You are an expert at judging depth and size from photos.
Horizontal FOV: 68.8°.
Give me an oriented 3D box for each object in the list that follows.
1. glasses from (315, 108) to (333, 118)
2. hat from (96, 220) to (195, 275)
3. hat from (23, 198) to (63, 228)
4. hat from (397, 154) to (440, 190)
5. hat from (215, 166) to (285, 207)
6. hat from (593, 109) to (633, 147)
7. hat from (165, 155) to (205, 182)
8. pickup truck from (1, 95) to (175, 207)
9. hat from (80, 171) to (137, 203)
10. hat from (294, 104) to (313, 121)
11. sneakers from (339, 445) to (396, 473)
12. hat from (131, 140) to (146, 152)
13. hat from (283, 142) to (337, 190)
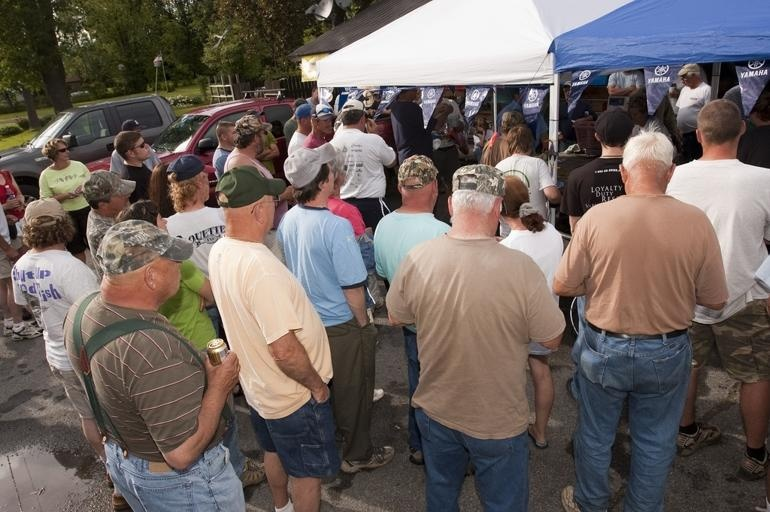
[{"bbox_3d":[-0.789,-1.854,7.283,0.157,0.047,0.161,-23,-5,37],"label":"glasses"},{"bbox_3d":[-1.543,-0.082,3.649,0.494,0.244,0.320,-20,38,-25],"label":"hat"},{"bbox_3d":[-3.253,-0.409,5.371,0.253,0.132,0.353,-20,16,-38],"label":"hat"},{"bbox_3d":[0.270,-0.733,4.683,0.236,0.170,0.329,-5,34,16],"label":"hat"},{"bbox_3d":[-0.978,-0.521,4.165,0.413,0.196,0.278,-24,36,-38],"label":"hat"},{"bbox_3d":[2.095,-1.137,5.179,0.275,0.216,0.367,3,65,27],"label":"hat"},{"bbox_3d":[-1.826,-0.875,5.245,0.235,0.134,0.322,20,39,30],"label":"hat"},{"bbox_3d":[-5.921,-2.494,12.350,4.213,1.934,2.390,-15,18,-36],"label":"pickup truck"},{"bbox_3d":[-2.695,-0.704,5.555,0.433,0.232,0.280,-18,47,-21],"label":"hat"},{"bbox_3d":[-1.104,-2.000,7.818,0.250,0.133,0.175,-43,49,-18],"label":"hat"},{"bbox_3d":[-0.142,1.865,5.225,0.495,0.217,0.188,-14,25,-19],"label":"sneakers"},{"bbox_3d":[-3.087,-1.401,7.113,0.068,0.112,0.161,6,23,33],"label":"hat"},{"bbox_3d":[-0.598,-0.759,4.680,0.298,0.306,0.459,10,25,41],"label":"hat"}]
